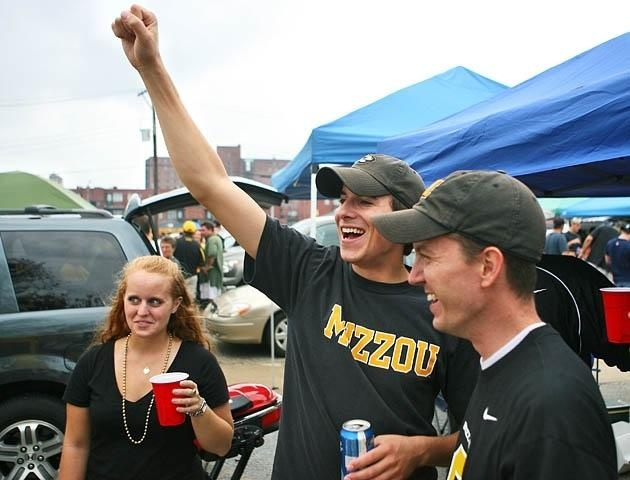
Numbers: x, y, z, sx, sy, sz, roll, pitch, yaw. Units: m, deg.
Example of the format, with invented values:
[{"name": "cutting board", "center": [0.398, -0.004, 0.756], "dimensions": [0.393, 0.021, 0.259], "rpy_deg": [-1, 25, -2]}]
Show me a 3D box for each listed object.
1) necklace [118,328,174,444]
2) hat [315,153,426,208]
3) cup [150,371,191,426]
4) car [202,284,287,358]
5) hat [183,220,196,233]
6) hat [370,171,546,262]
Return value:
[{"name": "necklace", "center": [-0.967, 0.738, 3.310], "dimensions": [0.178, 0.609, 0.023], "rpy_deg": [6, -27, -8]}, {"name": "hat", "center": [0.320, -0.318, 3.154], "dimensions": [0.515, 0.260, 0.353], "rpy_deg": [17, 5, -19]}, {"name": "cup", "center": [-0.717, 0.784, 3.165], "dimensions": [0.209, 0.250, 0.227], "rpy_deg": [-2, 0, 0]}, {"name": "car", "center": [-0.948, 1.085, 8.387], "dimensions": [1.552, 0.777, 0.845], "rpy_deg": [7, -10, -18]}, {"name": "hat", "center": [-2.222, -0.285, 11.024], "dimensions": [0.221, 0.190, 0.344], "rpy_deg": [5, -10, -4]}, {"name": "hat", "center": [0.617, -0.106, 2.547], "dimensions": [0.502, 0.296, 0.350], "rpy_deg": [3, -2, 12]}]
